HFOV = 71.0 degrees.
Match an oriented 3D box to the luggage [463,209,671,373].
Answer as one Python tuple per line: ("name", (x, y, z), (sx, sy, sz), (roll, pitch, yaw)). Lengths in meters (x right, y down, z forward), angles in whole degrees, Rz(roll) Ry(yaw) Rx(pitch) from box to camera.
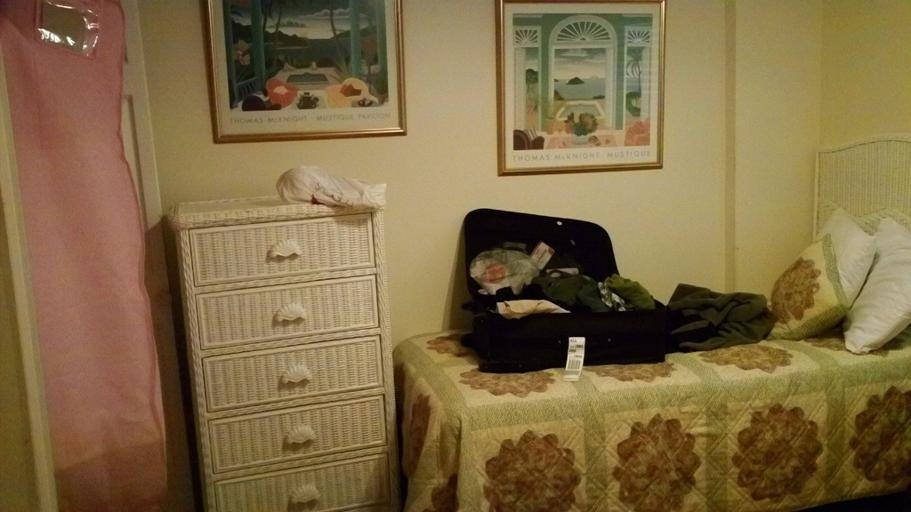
("luggage", (0.564, 0.213, 3.722), (1.134, 0.682, 1.042), (-1, 10, -12))

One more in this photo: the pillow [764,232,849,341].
("pillow", (2.030, 0.235, 3.681), (0.188, 0.556, 0.562), (25, -38, -19))
